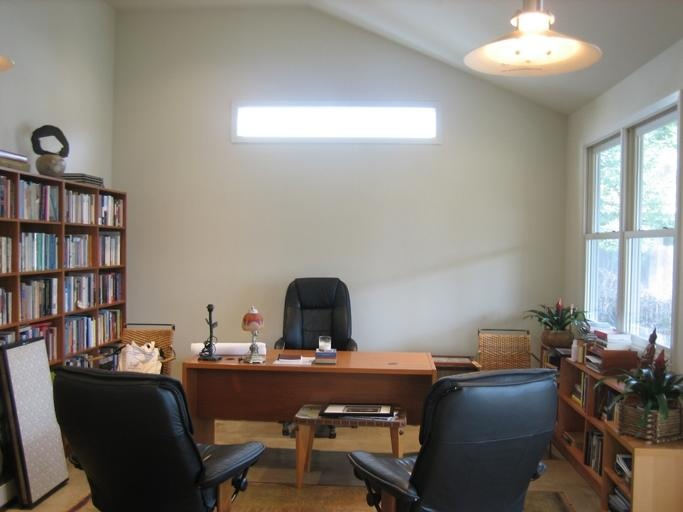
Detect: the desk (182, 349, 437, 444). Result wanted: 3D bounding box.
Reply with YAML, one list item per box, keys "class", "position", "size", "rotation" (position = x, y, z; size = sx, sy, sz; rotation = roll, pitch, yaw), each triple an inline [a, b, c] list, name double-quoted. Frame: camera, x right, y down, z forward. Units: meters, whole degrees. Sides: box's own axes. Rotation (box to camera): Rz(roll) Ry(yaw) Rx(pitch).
- class: "desk"
  position: [-0.526, 1.208, 4.287]
  size: [1.301, 0.656, 0.560]
  rotation: [-1, -11, 2]

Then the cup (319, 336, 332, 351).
- class: "cup"
  position: [-0.143, 0.751, 4.631]
  size: [0.108, 0.129, 0.115]
  rotation: [0, -4, 0]

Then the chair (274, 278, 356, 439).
- class: "chair"
  position: [-0.270, 0.990, 5.351]
  size: [0.855, 1.510, 0.870]
  rotation: [2, 7, 11]

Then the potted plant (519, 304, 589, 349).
- class: "potted plant"
  position: [2.109, 0.660, 5.275]
  size: [0.440, 0.361, 0.463]
  rotation: [1, -8, -4]

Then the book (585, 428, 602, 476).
- class: "book"
  position: [2.005, 1.557, 4.281]
  size: [0.054, 0.233, 0.215]
  rotation: [0, -5, 16]

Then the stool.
- class: "stool"
  position: [0.062, 1.507, 4.282]
  size: [0.840, 0.562, 0.532]
  rotation: [1, -2, 5]
